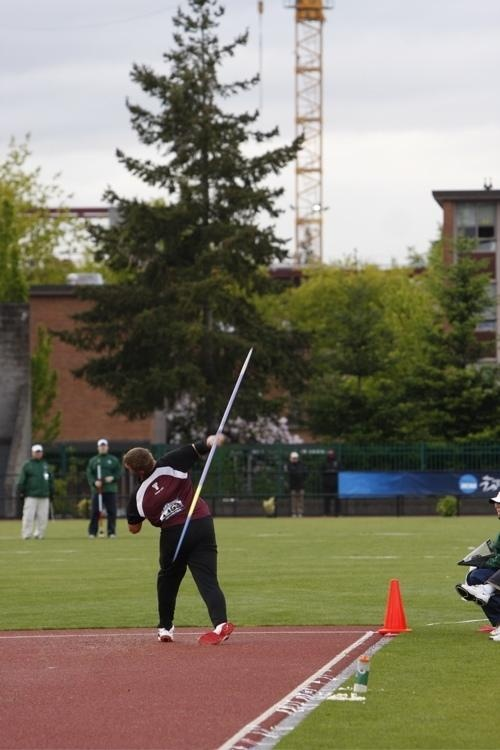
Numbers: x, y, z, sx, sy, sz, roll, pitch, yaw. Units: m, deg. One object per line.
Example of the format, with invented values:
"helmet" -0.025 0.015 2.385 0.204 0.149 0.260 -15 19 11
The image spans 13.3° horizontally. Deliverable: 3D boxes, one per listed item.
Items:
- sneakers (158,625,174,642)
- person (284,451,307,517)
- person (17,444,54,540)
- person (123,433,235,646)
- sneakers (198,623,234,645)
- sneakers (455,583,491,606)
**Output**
"sneakers" -0.714 2.124 17.857 0.105 0.143 0.267 1 -3 -3
"person" 0.841 2.113 41.938 0.357 1.249 0.653 1 -5 0
"person" -3.212 1.733 32.127 0.486 1.425 1.385 2 -6 -5
"person" -0.603 1.327 17.711 0.904 1.699 0.595 1 -5 -2
"sneakers" -0.301 2.121 17.757 0.266 0.186 0.435 1 -7 -2
"sneakers" 1.819 1.803 17.840 0.298 0.178 0.239 1 -6 6
